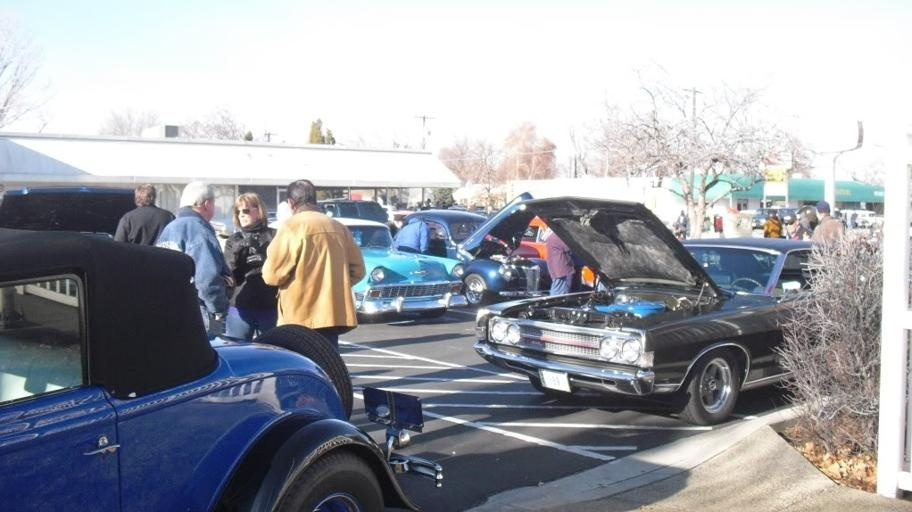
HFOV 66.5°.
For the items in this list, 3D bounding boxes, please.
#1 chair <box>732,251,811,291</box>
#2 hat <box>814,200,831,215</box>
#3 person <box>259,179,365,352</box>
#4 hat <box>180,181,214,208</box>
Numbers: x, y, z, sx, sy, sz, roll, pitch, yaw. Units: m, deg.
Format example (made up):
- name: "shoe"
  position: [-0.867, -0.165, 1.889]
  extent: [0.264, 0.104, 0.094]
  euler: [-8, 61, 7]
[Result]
- name: "chair"
  position: [3.831, 0.164, 8.369]
  extent: [0.825, 0.369, 0.483]
  euler: [-3, 2, -40]
- name: "hat"
  position: [6.184, -0.811, 11.724]
  extent: [0.214, 0.153, 0.299]
  euler: [5, 7, 7]
- name: "person"
  position: [-1.384, 0.226, 6.843]
  extent: [0.966, 1.312, 0.377]
  euler: [-5, 10, -14]
- name: "hat"
  position: [-2.774, -0.653, 7.366]
  extent: [0.276, 0.331, 0.358]
  euler: [-1, -2, 1]
